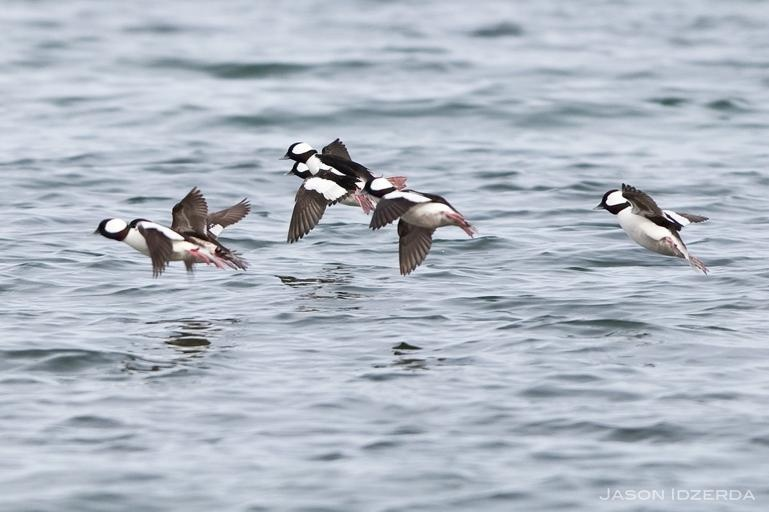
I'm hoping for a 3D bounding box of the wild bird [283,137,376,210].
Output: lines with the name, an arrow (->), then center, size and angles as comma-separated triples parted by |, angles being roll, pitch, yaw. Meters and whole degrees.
wild bird -> -0.768, -1.122, 15.454 | 1.721, 1.244, 0.452 | 18, 84, 4
